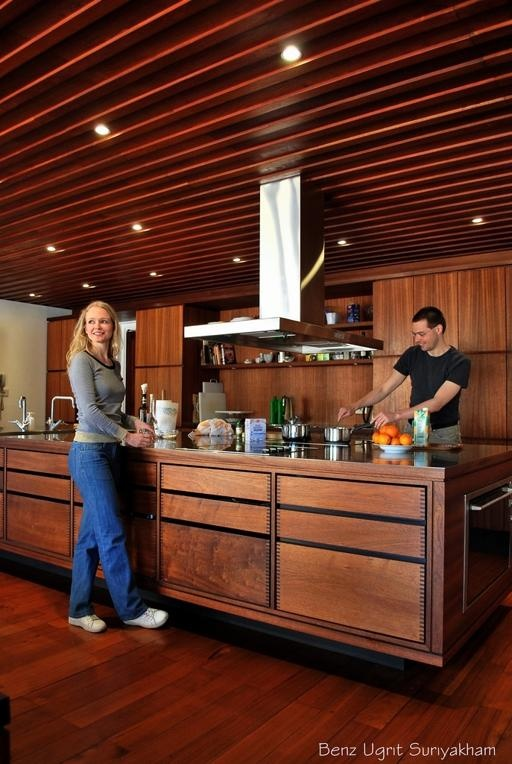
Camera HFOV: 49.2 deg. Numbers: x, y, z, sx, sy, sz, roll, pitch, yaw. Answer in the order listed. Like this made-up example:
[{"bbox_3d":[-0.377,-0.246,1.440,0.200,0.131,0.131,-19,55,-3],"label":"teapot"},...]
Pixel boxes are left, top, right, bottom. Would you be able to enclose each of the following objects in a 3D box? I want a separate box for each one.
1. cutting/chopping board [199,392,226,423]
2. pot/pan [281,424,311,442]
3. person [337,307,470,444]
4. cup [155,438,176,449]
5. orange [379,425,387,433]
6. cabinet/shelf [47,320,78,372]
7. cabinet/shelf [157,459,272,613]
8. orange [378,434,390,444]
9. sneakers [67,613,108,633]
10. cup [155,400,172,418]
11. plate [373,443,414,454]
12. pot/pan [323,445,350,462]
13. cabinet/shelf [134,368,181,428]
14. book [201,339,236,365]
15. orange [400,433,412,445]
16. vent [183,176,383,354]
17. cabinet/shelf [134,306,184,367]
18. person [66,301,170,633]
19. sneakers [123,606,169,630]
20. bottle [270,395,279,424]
[{"bbox_3d":[-0.346,0.192,4.553,0.122,0.232,0.473,-1,-5,20],"label":"cutting/chopping board"},{"bbox_3d":[0.212,0.276,3.087,0.105,0.061,0.106,1,2,35],"label":"pot/pan"},{"bbox_3d":[0.895,-0.045,3.175,0.586,0.775,0.930,-2,-6,25],"label":"person"},{"bbox_3d":[-0.461,0.314,2.844,0.063,0.057,0.058,2,1,0],"label":"cup"},{"bbox_3d":[0.550,0.202,2.426,0.027,0.045,0.033,-5,1,-6],"label":"orange"},{"bbox_3d":[-3.105,-0.589,8.757,0.426,0.800,0.843,6,-3,-25],"label":"cabinet/shelf"},{"bbox_3d":[-0.083,0.672,2.557,0.607,0.565,0.402,-1,-6,34],"label":"cabinet/shelf"},{"bbox_3d":[0.536,0.241,2.344,0.038,0.043,0.038,16,-20,-38],"label":"orange"},{"bbox_3d":[-0.746,1.057,2.466,0.173,0.065,0.064,-7,-12,33],"label":"sneakers"},{"bbox_3d":[-0.536,0.154,3.220,0.094,0.085,0.092,2,5,0],"label":"cup"},{"bbox_3d":[0.582,0.283,2.339,0.127,0.042,0.106,-1,-5,15],"label":"plate"},{"bbox_3d":[0.341,0.301,2.372,0.071,0.065,0.068,1,0,-12],"label":"pot/pan"},{"bbox_3d":[-0.903,0.103,5.266,0.644,0.589,0.209,-4,-6,38],"label":"cabinet/shelf"},{"bbox_3d":[-0.468,-0.338,6.873,0.438,0.402,0.249,-1,0,19],"label":"book"},{"bbox_3d":[0.630,0.241,2.368,0.042,0.041,0.041,7,-12,-31],"label":"orange"},{"bbox_3d":[0.183,-0.728,3.510,0.650,1.026,1.150,-3,-7,37],"label":"vent"},{"bbox_3d":[-1.087,-0.568,7.176,0.835,0.739,0.508,-1,-1,33],"label":"cabinet/shelf"},{"bbox_3d":[-0.670,0.357,2.641,0.461,1.504,0.483,4,-6,-27],"label":"person"},{"bbox_3d":[-0.510,1.039,2.495,0.218,0.087,0.085,-6,18,8],"label":"sneakers"},{"bbox_3d":[0.214,0.308,6.119,0.058,0.281,0.140,5,-7,-38],"label":"bottle"}]
